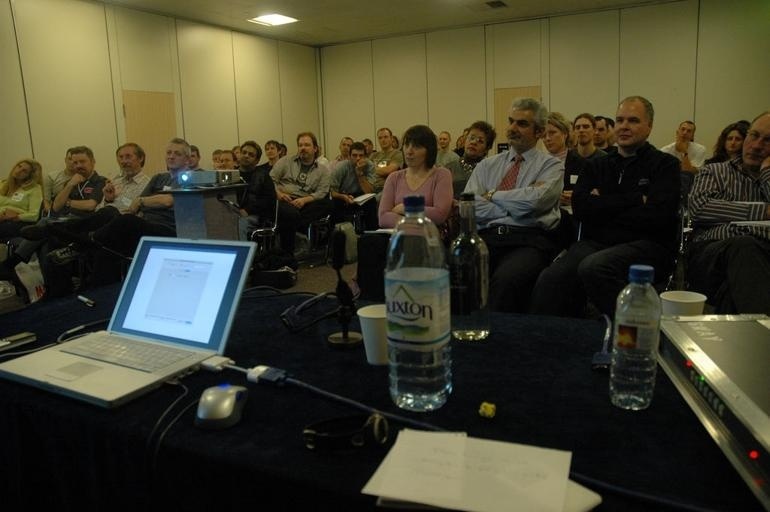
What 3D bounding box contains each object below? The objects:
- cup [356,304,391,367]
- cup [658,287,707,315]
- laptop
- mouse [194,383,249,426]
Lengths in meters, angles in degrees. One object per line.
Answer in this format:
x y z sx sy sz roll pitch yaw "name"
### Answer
-0.027 0.217 1.487 0.147 0.154 0.145 0 5 0 "cup"
0.872 0.137 1.600 0.106 0.066 0.109 0 -2 0 "cup"
-0.692 0.077 1.514 0.515 0.313 0.502 4 5 30 "laptop"
-0.403 0.351 1.347 0.109 0.054 0.169 1 19 3 "mouse"
